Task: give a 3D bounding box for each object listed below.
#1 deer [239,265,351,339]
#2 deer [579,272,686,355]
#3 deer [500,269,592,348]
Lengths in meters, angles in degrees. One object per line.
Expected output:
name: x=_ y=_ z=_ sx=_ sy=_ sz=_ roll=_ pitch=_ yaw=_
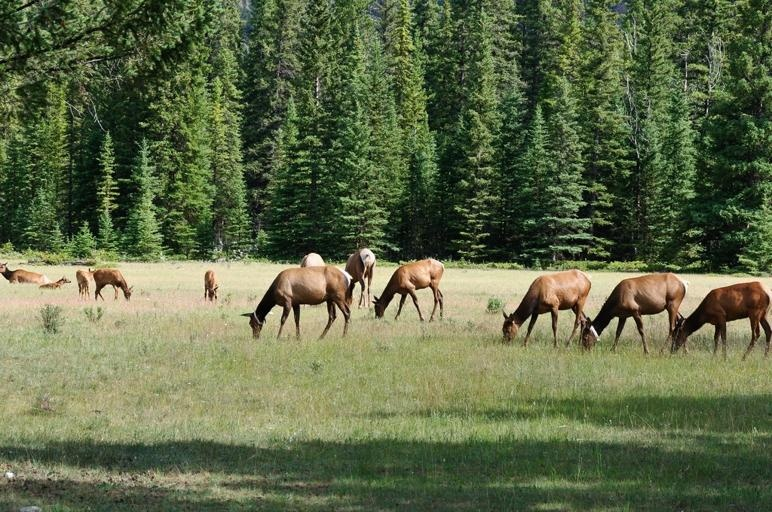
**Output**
deer: x=-4.884 y=2.724 z=72.344 sx=6.100 sy=4.213 sz=1.746 roll=-6 pitch=-5 yaw=-6
deer: x=14.105 y=3.250 z=71.100 sx=6.530 sy=4.430 sz=1.810 roll=-9 pitch=7 yaw=-2
deer: x=9.033 y=2.865 z=72.092 sx=4.681 sy=4.232 sz=3.003 roll=3 pitch=2 yaw=-2
